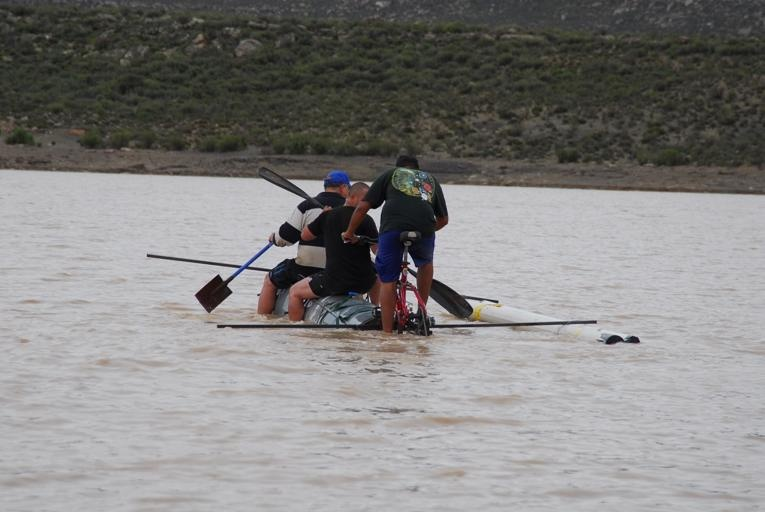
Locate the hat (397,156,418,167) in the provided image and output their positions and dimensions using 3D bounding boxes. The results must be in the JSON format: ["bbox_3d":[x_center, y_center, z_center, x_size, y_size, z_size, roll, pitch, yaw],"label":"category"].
[{"bbox_3d":[1.037,-4.289,70.246,0.708,0.756,0.305,1,62,0],"label":"hat"}]
